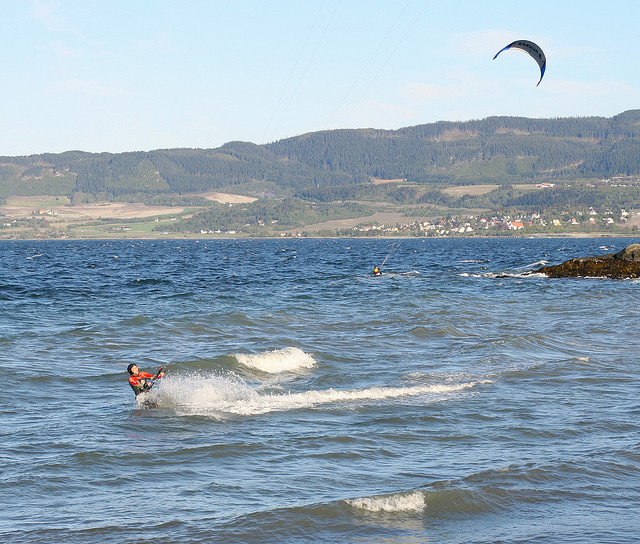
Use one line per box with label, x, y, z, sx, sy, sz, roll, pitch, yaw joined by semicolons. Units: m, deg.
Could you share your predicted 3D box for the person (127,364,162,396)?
person;-5.851;3.508;36.237;1.027;0.929;0.670;2;8;-14
